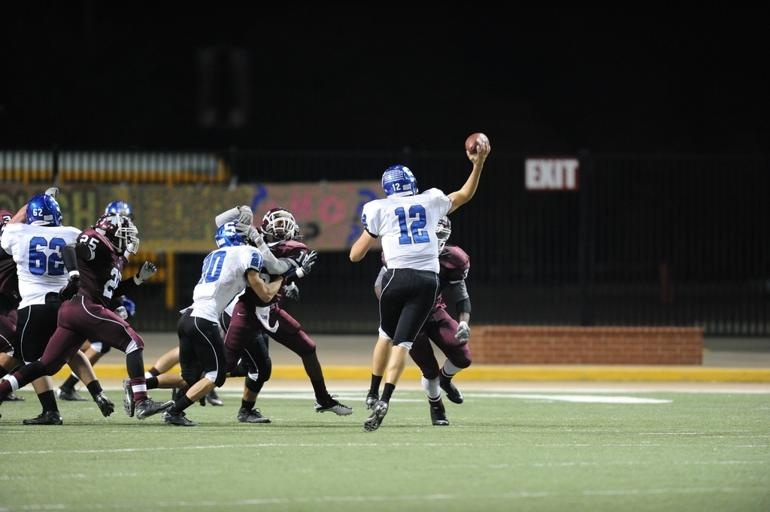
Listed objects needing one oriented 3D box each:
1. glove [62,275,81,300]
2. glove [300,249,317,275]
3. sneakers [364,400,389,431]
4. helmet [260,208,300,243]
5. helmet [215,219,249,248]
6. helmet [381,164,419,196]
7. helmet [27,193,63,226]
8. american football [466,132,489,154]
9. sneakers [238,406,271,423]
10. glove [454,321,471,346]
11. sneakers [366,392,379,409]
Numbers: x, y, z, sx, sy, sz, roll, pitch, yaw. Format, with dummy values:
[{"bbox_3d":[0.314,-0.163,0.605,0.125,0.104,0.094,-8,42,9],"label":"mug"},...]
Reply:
[{"bbox_3d":[-4.402,0.419,14.693,0.233,0.352,0.142,37,-2,-23],"label":"glove"},{"bbox_3d":[-1.082,0.100,15.220,0.234,0.367,0.170,-33,-65,32],"label":"glove"},{"bbox_3d":[-0.109,2.213,14.511,0.194,0.489,0.234,36,4,9],"label":"sneakers"},{"bbox_3d":[-1.567,-0.426,15.561,0.447,0.467,0.575,2,-17,-26],"label":"helmet"},{"bbox_3d":[-2.251,-0.284,15.047,0.429,0.422,0.341,-12,3,-40],"label":"helmet"},{"bbox_3d":[0.210,-1.083,14.970,0.384,0.404,0.503,-4,15,15],"label":"helmet"},{"bbox_3d":[-5.068,-0.703,15.481,0.403,0.434,0.536,3,36,0],"label":"helmet"},{"bbox_3d":[1.363,-1.584,15.017,0.342,0.339,0.189,-4,-41,31],"label":"american football"},{"bbox_3d":[-1.949,2.346,15.426,0.593,0.240,0.192,1,-5,4],"label":"sneakers"},{"bbox_3d":[1.111,1.090,14.907,0.227,0.131,0.290,3,-29,5],"label":"glove"},{"bbox_3d":[-0.197,2.030,14.609,0.179,0.179,0.200,11,-25,-2],"label":"sneakers"}]
